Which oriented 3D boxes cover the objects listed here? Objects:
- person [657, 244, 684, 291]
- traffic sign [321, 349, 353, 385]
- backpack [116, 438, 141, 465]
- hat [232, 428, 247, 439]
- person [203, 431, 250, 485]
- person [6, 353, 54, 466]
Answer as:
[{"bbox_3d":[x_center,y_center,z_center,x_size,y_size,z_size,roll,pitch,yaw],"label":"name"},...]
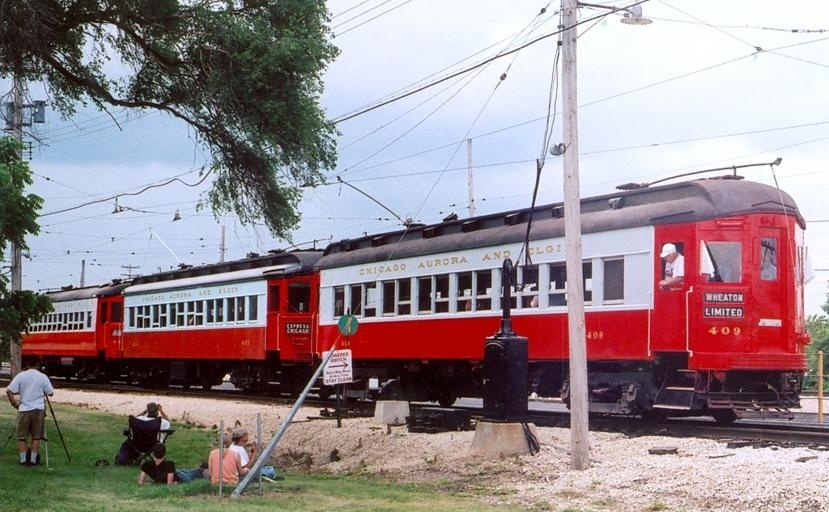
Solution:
[{"bbox_3d":[5.663,0.227,20.869,0.586,0.950,0.637,8,17,-8],"label":"person"},{"bbox_3d":[-1.801,2.629,22.169,0.737,0.888,0.645,6,-15,-22],"label":"traffic sign"},{"bbox_3d":[-5.952,4.122,19.452,0.514,0.557,0.264,-4,-15,16],"label":"backpack"},{"bbox_3d":[-3.291,3.421,17.757,0.179,0.213,0.227,-4,16,19],"label":"hat"},{"bbox_3d":[-3.419,3.758,17.361,0.751,1.044,1.337,3,-15,-11],"label":"person"},{"bbox_3d":[-7.881,3.235,19.189,0.872,2.166,0.755,1,-14,-1],"label":"person"}]
